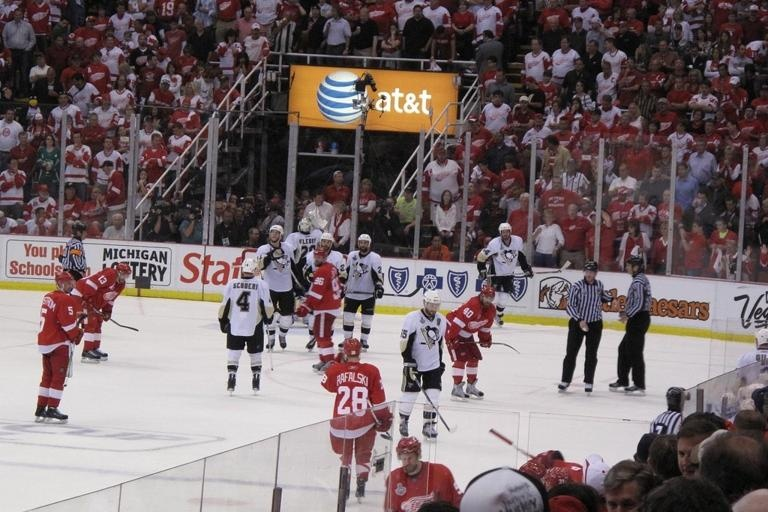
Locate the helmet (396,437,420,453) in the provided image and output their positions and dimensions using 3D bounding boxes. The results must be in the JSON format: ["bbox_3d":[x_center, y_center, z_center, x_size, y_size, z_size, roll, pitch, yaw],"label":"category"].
[{"bbox_3d":[0.396,3.131,24.899,0.305,0.283,0.246,-23,23,-26],"label":"helmet"}]

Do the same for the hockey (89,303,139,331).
[{"bbox_3d":[-5.891,1.408,33.239,1.151,0.149,0.130,27,33,9],"label":"hockey"}]

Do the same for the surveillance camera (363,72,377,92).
[{"bbox_3d":[-0.347,-4.220,37.579,0.165,0.505,0.288,-14,32,39],"label":"surveillance camera"}]

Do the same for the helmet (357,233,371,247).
[{"bbox_3d":[-0.432,-0.270,33.015,0.226,0.283,0.255,1,40,4],"label":"helmet"}]

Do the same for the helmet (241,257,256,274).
[{"bbox_3d":[-2.683,0.235,30.020,0.234,0.298,0.309,13,-2,3],"label":"helmet"}]

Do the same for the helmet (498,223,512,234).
[{"bbox_3d":[2.746,-0.600,34.987,0.208,0.222,0.232,-4,-1,6],"label":"helmet"}]

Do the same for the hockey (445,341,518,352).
[{"bbox_3d":[1.949,1.900,31.182,1.923,0.283,0.094,5,45,-18],"label":"hockey"}]

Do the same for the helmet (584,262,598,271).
[{"bbox_3d":[4.147,0.260,30.735,0.191,0.217,0.229,3,-22,17],"label":"helmet"}]

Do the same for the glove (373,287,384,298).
[{"bbox_3d":[-0.123,0.826,32.902,0.181,0.213,0.254,4,-3,-3],"label":"glove"}]

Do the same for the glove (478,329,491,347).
[{"bbox_3d":[2.001,1.647,30.095,0.230,0.324,0.131,1,24,15],"label":"glove"}]

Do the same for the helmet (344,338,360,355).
[{"bbox_3d":[-0.559,1.652,26.953,0.271,0.296,0.450,3,-3,3],"label":"helmet"}]

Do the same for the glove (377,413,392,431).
[{"bbox_3d":[0.015,2.777,25.069,0.247,0.243,0.291,0,-2,4],"label":"glove"}]

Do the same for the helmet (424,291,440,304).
[{"bbox_3d":[0.889,0.799,28.440,0.277,0.249,0.365,3,-3,5],"label":"helmet"}]

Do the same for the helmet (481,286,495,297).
[{"bbox_3d":[2.006,0.723,29.662,0.239,0.224,0.513,3,-3,3],"label":"helmet"}]

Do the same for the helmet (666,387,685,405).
[{"bbox_3d":[4.762,2.358,25.192,0.224,0.231,0.285,1,13,-28],"label":"helmet"}]

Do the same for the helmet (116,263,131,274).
[{"bbox_3d":[-5.354,0.290,31.382,0.270,0.205,0.248,4,-3,-14],"label":"helmet"}]

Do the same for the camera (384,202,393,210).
[{"bbox_3d":[0.107,-1.131,35.816,0.141,0.184,0.177,-7,4,11],"label":"camera"}]
